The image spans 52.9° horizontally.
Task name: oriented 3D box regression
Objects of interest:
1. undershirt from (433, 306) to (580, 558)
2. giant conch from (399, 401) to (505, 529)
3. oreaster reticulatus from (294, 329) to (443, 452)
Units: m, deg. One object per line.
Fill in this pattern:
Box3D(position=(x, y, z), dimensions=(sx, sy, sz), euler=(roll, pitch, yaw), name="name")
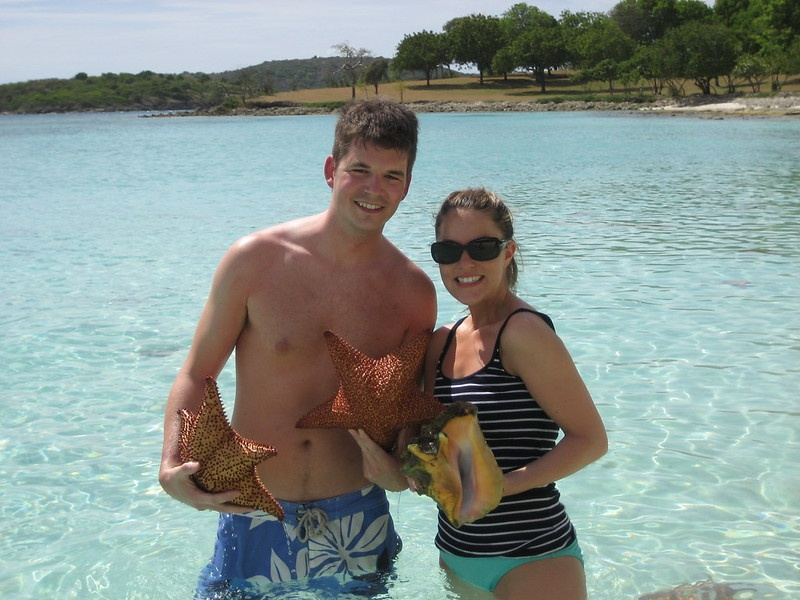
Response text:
Box3D(position=(0.543, 0.728, 4.790), dimensions=(1.208, 1.361, 0.754), euler=(-9, 16, -35), name="undershirt")
Box3D(position=(0.266, 0.854, 4.168), dimensions=(0.443, 0.597, 0.266), euler=(-12, 21, -18), name="giant conch")
Box3D(position=(-0.189, 0.502, 4.463), dimensions=(0.788, 0.665, 0.317), euler=(-6, 20, -5), name="oreaster reticulatus")
